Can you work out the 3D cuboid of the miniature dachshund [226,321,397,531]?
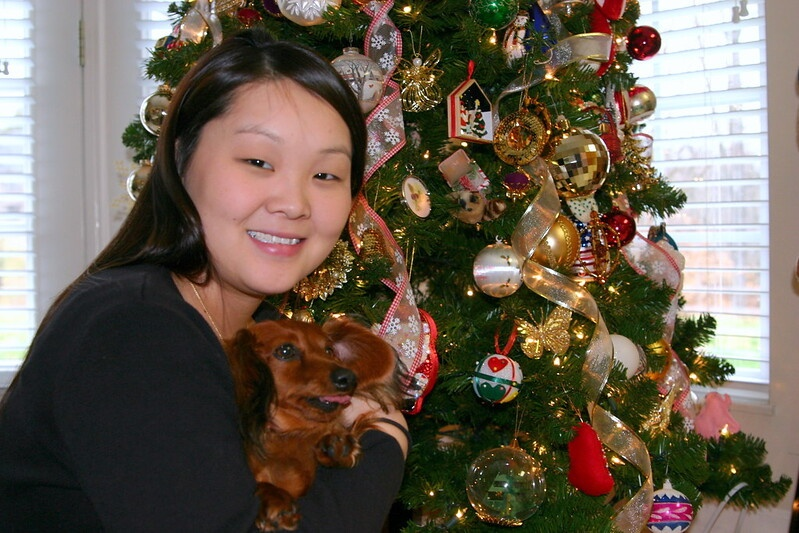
[{"bbox_3d":[-0.202,0.359,1.648,0.272,0.511,0.384,-10,-15,44],"label":"miniature dachshund"}]
